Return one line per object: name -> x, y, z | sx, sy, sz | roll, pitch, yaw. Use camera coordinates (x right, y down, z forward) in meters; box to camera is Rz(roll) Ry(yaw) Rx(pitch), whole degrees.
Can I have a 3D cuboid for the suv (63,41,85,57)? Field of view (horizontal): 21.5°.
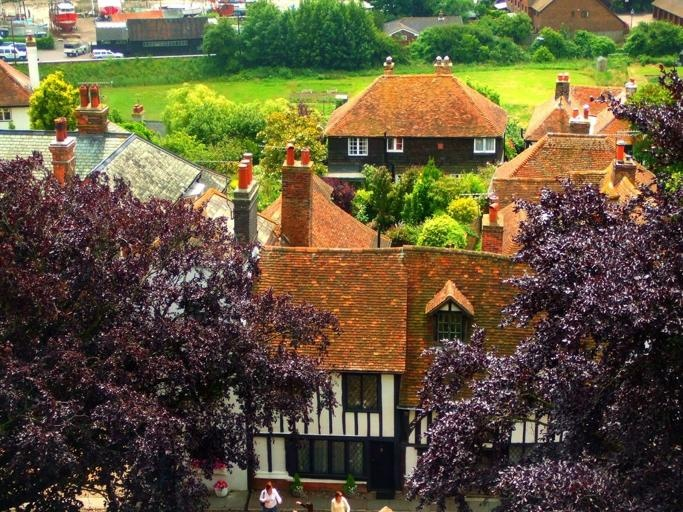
suv -> -36.204, -28.003, 245.016 | 1.756, 2.055, 3.461 | 12, 30, 19
